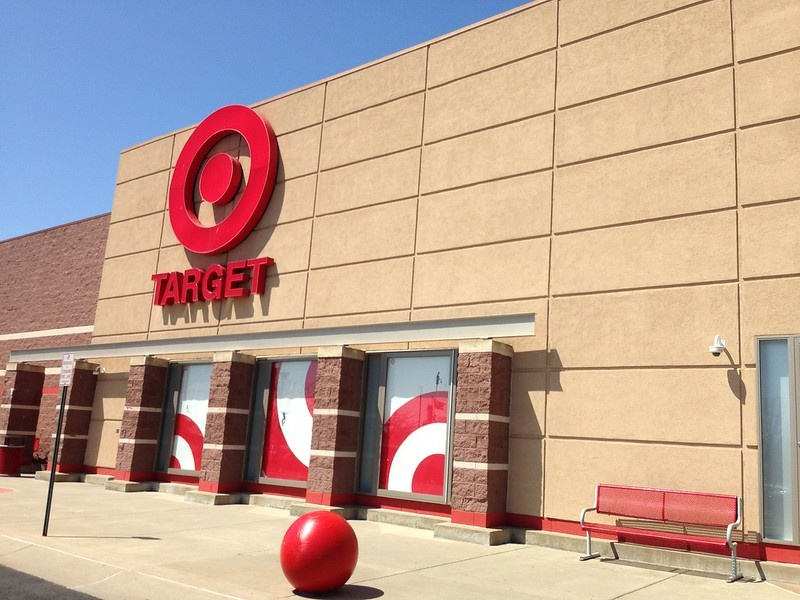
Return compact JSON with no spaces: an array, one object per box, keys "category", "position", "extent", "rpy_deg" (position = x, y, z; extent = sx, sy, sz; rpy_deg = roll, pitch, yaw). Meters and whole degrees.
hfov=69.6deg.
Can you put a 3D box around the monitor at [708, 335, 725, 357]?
[{"category":"monitor","position":[6.216,0.855,11.279],"extent":[0.298,0.391,0.512],"rpy_deg":[-6,-15,31]}]
